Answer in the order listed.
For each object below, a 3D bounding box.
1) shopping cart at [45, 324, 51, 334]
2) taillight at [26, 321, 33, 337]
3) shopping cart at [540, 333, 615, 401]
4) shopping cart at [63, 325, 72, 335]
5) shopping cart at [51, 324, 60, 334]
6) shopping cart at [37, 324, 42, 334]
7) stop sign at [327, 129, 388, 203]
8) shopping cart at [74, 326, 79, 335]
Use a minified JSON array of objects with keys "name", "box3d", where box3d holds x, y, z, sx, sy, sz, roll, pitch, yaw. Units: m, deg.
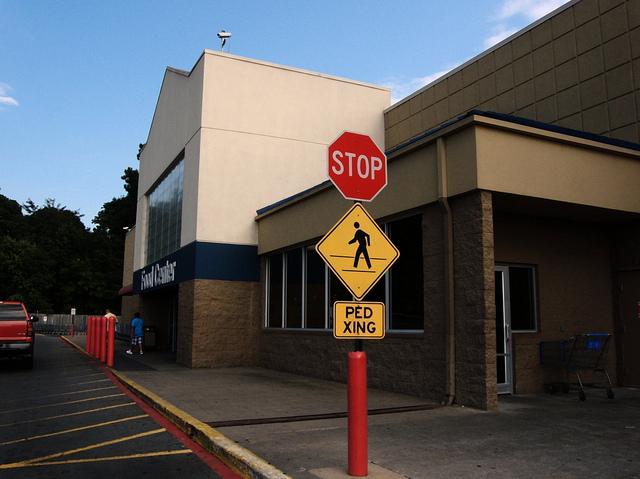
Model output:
[{"name":"shopping cart","box3d":[-30.533,10.202,54.034,0.448,1.003,1.043,8,-14,-35]},{"name":"taillight","box3d":[-9.689,2.986,16.003,0.079,0.404,0.239,-7,-17,7]},{"name":"shopping cart","box3d":[6.162,2.976,11.386,1.955,1.511,1.331,10,-15,-38]},{"name":"shopping cart","box3d":[-28.665,10.390,54.501,0.924,1.333,0.861,-6,-9,32]},{"name":"shopping cart","box3d":[-29.727,10.232,54.205,0.669,0.861,0.382,10,-14,-39]},{"name":"shopping cart","box3d":[-31.577,10.166,54.068,0.616,1.384,0.130,2,-18,-21]},{"name":"stop sign","box3d":[0.513,-0.996,6.706,0.833,1.032,0.279,4,-11,-17]},{"name":"shopping cart","box3d":[-27.620,10.339,54.609,0.446,0.847,2.108,6,-14,-26]}]
